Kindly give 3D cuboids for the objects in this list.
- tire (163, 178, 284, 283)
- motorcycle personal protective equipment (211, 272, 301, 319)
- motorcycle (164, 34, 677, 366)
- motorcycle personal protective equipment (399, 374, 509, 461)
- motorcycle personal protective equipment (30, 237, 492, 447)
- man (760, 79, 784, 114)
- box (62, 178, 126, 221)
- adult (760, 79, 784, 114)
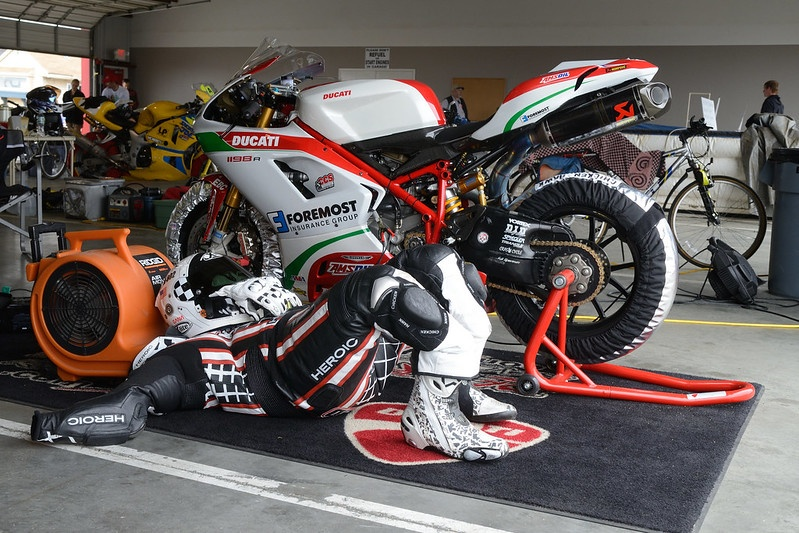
[{"bbox_3d":[-1.173,-0.250,3.820,0.755,0.694,0.175,-29,-6,34],"label":"tire"},{"bbox_3d":[-0.696,0.137,2.739,0.270,0.093,0.276,16,31,25],"label":"motorcycle personal protective equipment"},{"bbox_3d":[0.277,-0.593,4.322,4.311,2.155,1.487,5,8,18],"label":"motorcycle"},{"bbox_3d":[0.261,0.645,2.483,0.607,0.379,0.222,6,2,10],"label":"motorcycle personal protective equipment"},{"bbox_3d":[-0.415,0.369,2.421,1.462,0.558,1.066,2,2,-8],"label":"motorcycle personal protective equipment"},{"bbox_3d":[6.901,-3.158,10.357,0.327,0.662,1.424,11,16,30],"label":"man"},{"bbox_3d":[-4.295,-0.984,7.945,0.621,0.534,0.885,9,12,22],"label":"box"},{"bbox_3d":[6.892,-3.155,10.343,0.327,0.662,1.390,11,16,30],"label":"adult"}]
